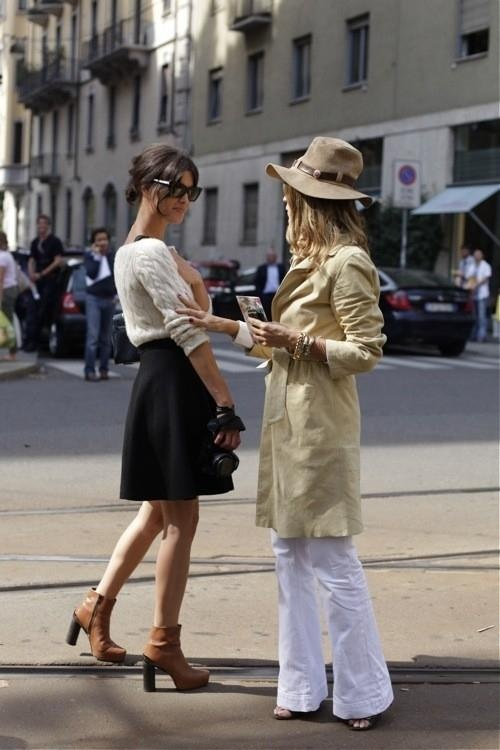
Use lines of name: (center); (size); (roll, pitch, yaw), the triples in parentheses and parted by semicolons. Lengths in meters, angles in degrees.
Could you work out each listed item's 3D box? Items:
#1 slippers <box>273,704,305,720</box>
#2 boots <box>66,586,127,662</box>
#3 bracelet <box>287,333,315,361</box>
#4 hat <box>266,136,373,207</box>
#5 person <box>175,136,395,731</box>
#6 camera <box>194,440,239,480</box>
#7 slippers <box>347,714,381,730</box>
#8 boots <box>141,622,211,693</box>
slippers: (0.108, 0.974, 3.513); (0.100, 0.032, 0.034); (9, -5, -15)
boots: (-0.478, 0.796, 3.891); (0.252, 0.199, 0.108); (12, 2, 35)
bracelet: (0.152, -0.081, 3.437); (0.059, 0.070, 0.029); (19, -5, 14)
hat: (0.201, -0.601, 3.523); (0.246, 0.127, 0.237); (11, 24, 3)
person: (0.183, 0.146, 3.577); (0.509, 1.700, 0.354); (1, 5, 11)
camera: (-0.088, 0.249, 3.651); (0.110, 0.099, 0.111); (-5, 14, -32)
slippers: (0.332, 0.991, 3.477); (0.107, 0.035, 0.072); (0, 5, -1)
boots: (-0.216, 0.861, 3.697); (0.231, 0.203, 0.089); (6, -11, -32)
